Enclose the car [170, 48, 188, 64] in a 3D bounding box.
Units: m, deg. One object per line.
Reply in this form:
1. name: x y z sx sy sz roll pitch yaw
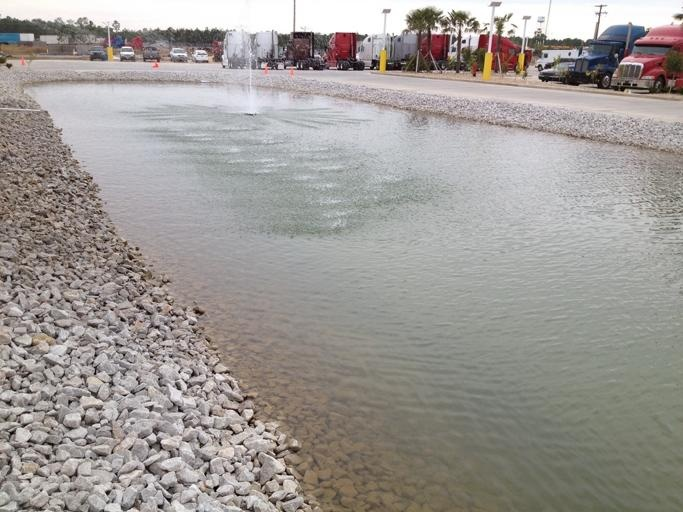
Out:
1. car: -20.538 -25.071 70.715 1.852 1.323 3.712 -12 28 -27
